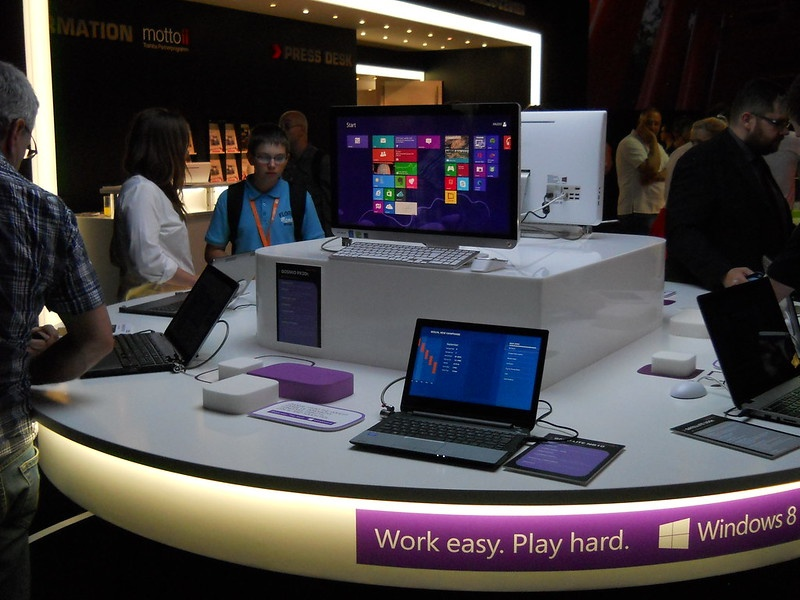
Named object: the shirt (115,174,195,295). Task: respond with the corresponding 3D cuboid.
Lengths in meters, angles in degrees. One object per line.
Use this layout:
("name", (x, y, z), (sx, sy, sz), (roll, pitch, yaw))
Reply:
("shirt", (-1.377, -0.318, 3.380), (0.411, 0.766, 0.758), (-2, 9, -23))

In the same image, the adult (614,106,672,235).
("adult", (2.812, -1.479, 7.009), (0.416, 1.402, 0.548), (-12, 17, -41))

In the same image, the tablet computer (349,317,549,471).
("tablet computer", (0.145, 0.239, 1.633), (0.434, 0.259, 0.396), (5, 14, 22))

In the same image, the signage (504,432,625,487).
("signage", (0.413, 0.391, 1.489), (0.220, 0.018, 0.259), (8, 16, 33))

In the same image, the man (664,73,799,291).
("man", (1.681, -0.551, 3.087), (0.573, 1.078, 0.747), (9, 16, 35))

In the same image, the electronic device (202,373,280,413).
("electronic device", (-0.499, 0.289, 1.835), (0.231, 0.069, 0.164), (1, 13, 4))

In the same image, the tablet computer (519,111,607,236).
("tablet computer", (0.736, -0.589, 2.709), (0.535, 0.515, 0.316), (7, 18, 29))

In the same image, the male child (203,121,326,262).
("male child", (-0.836, -0.645, 3.600), (0.703, 0.770, 0.282), (-4, 13, -14))

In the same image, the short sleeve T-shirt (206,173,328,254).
("short sleeve T-shirt", (-0.832, -0.481, 3.677), (0.733, 0.584, 0.241), (-1, 47, -14))

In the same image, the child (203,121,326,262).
("child", (-0.836, -0.645, 3.600), (0.703, 0.770, 0.282), (-4, 13, -14))

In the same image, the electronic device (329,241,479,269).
("electronic device", (0.010, -0.171, 2.244), (0.570, 0.049, 0.254), (7, 15, 27))

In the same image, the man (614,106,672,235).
("man", (2.812, -1.479, 7.009), (0.416, 1.402, 0.548), (-12, 17, -41))

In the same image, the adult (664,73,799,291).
("adult", (1.678, -0.551, 3.087), (0.577, 1.078, 0.750), (9, 16, 35))

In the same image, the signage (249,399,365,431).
("signage", (-0.275, 0.336, 1.748), (0.329, 0.020, 0.135), (5, 14, 23))

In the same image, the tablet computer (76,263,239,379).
("tablet computer", (-0.882, 0.111, 2.202), (0.444, 0.271, 0.438), (5, 18, -12))
